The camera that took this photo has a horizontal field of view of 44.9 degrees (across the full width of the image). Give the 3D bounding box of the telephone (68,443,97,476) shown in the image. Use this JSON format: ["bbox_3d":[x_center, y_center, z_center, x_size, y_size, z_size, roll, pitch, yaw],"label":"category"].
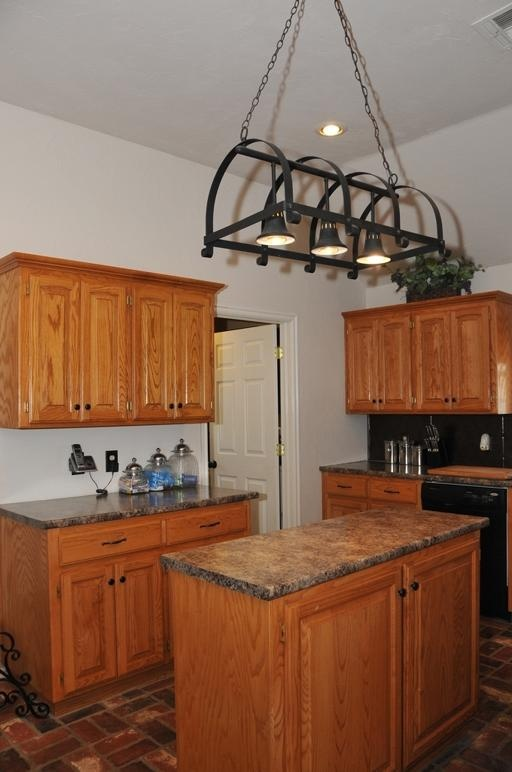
[{"bbox_3d":[-0.914,0.393,3.236,0.114,0.168,0.063,-3,-18,-38],"label":"telephone"}]

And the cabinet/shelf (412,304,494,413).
[{"bbox_3d":[1.390,-0.198,4.389,0.567,0.797,0.183,-1,4,33],"label":"cabinet/shelf"}]

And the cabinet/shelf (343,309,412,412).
[{"bbox_3d":[0.990,-0.181,4.915,0.573,0.838,0.242,-3,-4,28],"label":"cabinet/shelf"}]

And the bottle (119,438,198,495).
[{"bbox_3d":[-0.540,0.457,3.579,0.203,0.283,0.594,-3,-5,40],"label":"bottle"}]

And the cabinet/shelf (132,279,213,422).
[{"bbox_3d":[-0.502,-0.195,3.495,0.211,0.810,0.594,-2,-2,43],"label":"cabinet/shelf"}]

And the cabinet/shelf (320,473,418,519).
[{"bbox_3d":[0.812,0.812,4.475,0.824,0.353,0.098,-4,-5,45],"label":"cabinet/shelf"}]

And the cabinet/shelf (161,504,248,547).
[{"bbox_3d":[-0.261,0.713,3.196,0.184,0.148,0.291,-6,-7,44],"label":"cabinet/shelf"}]

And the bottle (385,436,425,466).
[{"bbox_3d":[1.163,0.507,4.803,0.244,0.224,0.446,1,-4,-21],"label":"bottle"}]

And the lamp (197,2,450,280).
[{"bbox_3d":[0.297,-1.176,2.897,0.941,1.453,0.551,9,-14,-39],"label":"lamp"}]
